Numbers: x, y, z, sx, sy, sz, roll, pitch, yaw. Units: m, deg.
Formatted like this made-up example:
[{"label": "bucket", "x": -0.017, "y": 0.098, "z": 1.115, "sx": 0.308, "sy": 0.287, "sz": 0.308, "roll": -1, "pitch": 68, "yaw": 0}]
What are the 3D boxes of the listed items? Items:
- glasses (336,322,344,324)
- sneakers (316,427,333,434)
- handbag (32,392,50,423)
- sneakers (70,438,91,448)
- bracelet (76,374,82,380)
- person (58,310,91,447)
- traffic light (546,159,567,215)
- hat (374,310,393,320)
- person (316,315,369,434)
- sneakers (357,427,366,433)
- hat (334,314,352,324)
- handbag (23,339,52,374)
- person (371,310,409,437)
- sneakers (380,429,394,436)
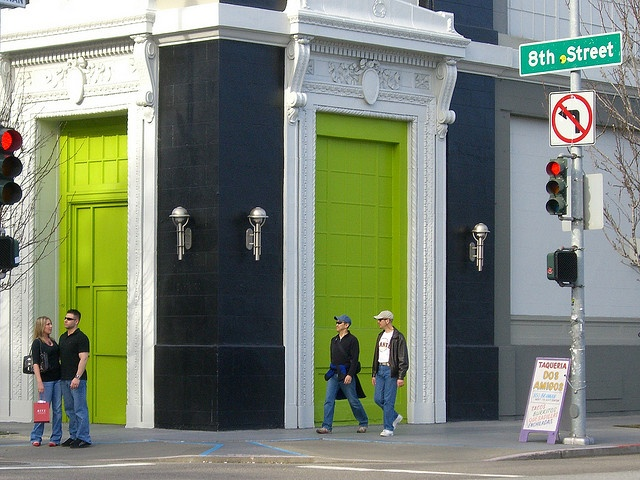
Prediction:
[{"label": "glasses", "x": 0.400, "y": 1.709, "z": 29.768, "sx": 0.100, "sy": 0.029, "sz": 0.097, "roll": 3, "pitch": -2, "yaw": -22}, {"label": "sneakers", "x": 0.078, "y": 3.887, "z": 29.571, "sx": 0.304, "sy": 0.154, "sz": 0.115, "roll": 7, "pitch": -5, "yaw": -9}, {"label": "handbag", "x": -5.251, "y": 3.211, "z": 27.642, "sx": 0.265, "sy": 0.564, "sz": 0.389, "roll": 0, "pitch": -9, "yaw": -7}, {"label": "sneakers", "x": -4.466, "y": 3.837, "z": 27.346, "sx": 0.305, "sy": 0.137, "sz": 0.145, "roll": -3, "pitch": 11, "yaw": -15}, {"label": "bracelet", "x": -4.523, "y": 2.606, "z": 27.422, "sx": 0.098, "sy": 0.084, "sz": 0.040, "roll": 6, "pitch": -11, "yaw": -39}, {"label": "person", "x": -4.626, "y": 2.642, "z": 27.658, "sx": 0.589, "sy": 2.642, "sz": 0.575, "roll": 0, "pitch": -9, "yaw": -10}, {"label": "traffic light", "x": 4.585, "y": -1.010, "z": 28.405, "sx": 0.425, "sy": 1.169, "sz": 0.413, "roll": -2, "pitch": -8, "yaw": 7}, {"label": "hat", "x": 1.297, "y": 1.539, "z": 29.725, "sx": 0.283, "sy": 0.172, "sz": 0.207, "roll": 3, "pitch": -7, "yaw": -2}, {"label": "person", "x": 0.421, "y": 2.742, "z": 29.737, "sx": 1.009, "sy": 2.456, "sz": 0.791, "roll": 1, "pitch": -9, "yaw": -11}, {"label": "sneakers", "x": 0.843, "y": 3.933, "z": 29.953, "sx": 0.113, "sy": 0.098, "sz": 0.239, "roll": 0, "pitch": -8, "yaw": 4}, {"label": "hat", "x": 0.465, "y": 1.644, "z": 29.783, "sx": 0.290, "sy": 0.147, "sz": 0.183, "roll": 14, "pitch": -2, "yaw": -14}, {"label": "handbag", "x": -5.437, "y": 2.211, "z": 28.017, "sx": 0.373, "sy": 0.802, "sz": 0.722, "roll": 7, "pitch": -8, "yaw": -40}, {"label": "person", "x": 1.380, "y": 2.718, "z": 29.454, "sx": 0.850, "sy": 2.565, "sz": 0.421, "roll": -7, "pitch": -10, "yaw": 34}, {"label": "sneakers", "x": 1.317, "y": 3.920, "z": 29.335, "sx": 0.253, "sy": 0.158, "sz": 0.392, "roll": -2, "pitch": -9, "yaw": 2}]
